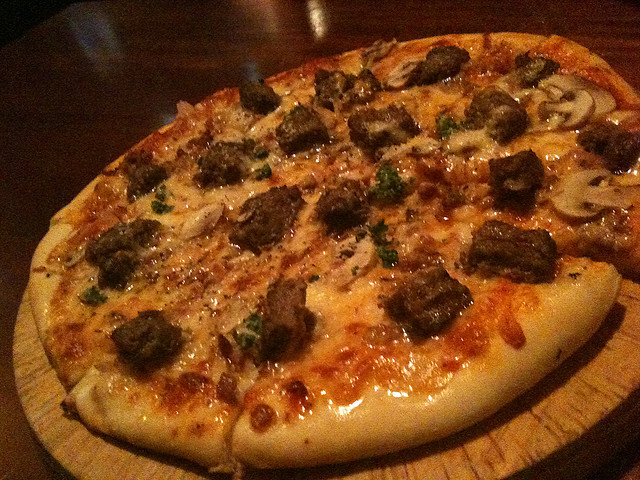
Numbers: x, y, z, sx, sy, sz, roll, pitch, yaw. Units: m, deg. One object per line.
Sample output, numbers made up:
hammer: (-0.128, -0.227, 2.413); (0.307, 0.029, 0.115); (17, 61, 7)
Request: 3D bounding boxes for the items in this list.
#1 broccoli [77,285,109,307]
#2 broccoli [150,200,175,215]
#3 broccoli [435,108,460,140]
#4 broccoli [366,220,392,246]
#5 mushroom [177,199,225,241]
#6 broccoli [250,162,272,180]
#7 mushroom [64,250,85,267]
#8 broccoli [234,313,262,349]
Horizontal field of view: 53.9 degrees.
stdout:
broccoli: (-2.229, 0.550, 6.127); (0.218, 0.066, 0.214); (3, 58, -3)
broccoli: (-1.662, -0.350, 6.512); (0.158, 0.076, 0.147); (-21, 48, -25)
broccoli: (1.255, -1.158, 6.317); (0.275, 0.082, 0.268); (-13, 58, 8)
broccoli: (0.557, -0.062, 5.944); (0.188, 0.049, 0.213); (-6, 62, 4)
mushroom: (-1.206, -0.198, 6.303); (0.554, 0.098, 0.262); (-23, 68, -5)
broccoli: (-0.623, -0.700, 6.533); (0.183, 0.051, 0.181); (35, 91, 26)
mushroom: (-2.501, 0.173, 6.403); (0.185, 0.044, 0.157); (-31, 52, -8)
broccoli: (-0.613, 0.752, 5.480); (0.066, 0.225, 0.238); (-36, 71, 13)
